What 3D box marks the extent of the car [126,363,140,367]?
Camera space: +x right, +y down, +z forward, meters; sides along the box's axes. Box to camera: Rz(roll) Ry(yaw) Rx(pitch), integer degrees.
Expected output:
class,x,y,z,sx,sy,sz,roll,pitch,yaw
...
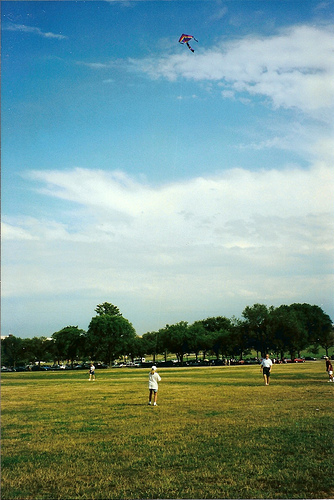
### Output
class,x,y,z,sx,sy,sz,roll,pitch,yaw
car,-6.597,21.954,114.548,2.119,0.600,1.353,9,-15,-24

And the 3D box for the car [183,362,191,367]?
class,x,y,z,sx,sy,sz,roll,pitch,yaw
car,3.498,21.086,110.910,1.698,0.786,2.218,1,-5,-1
